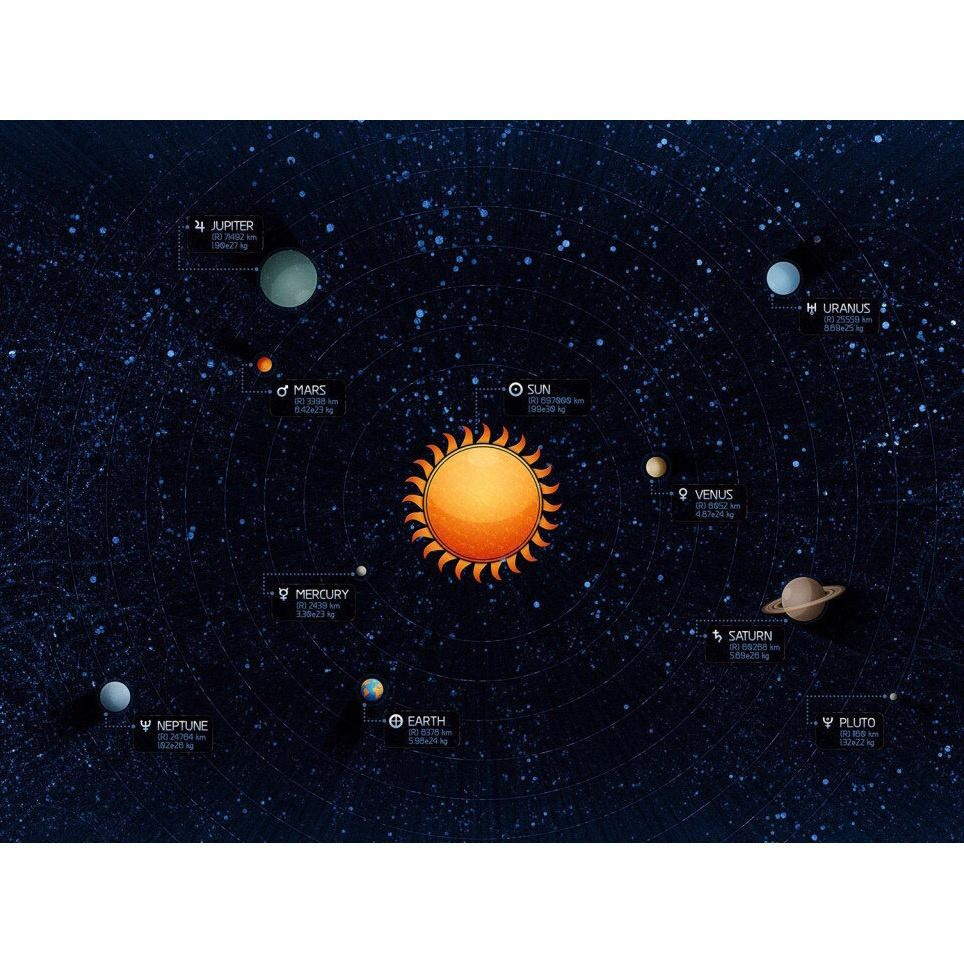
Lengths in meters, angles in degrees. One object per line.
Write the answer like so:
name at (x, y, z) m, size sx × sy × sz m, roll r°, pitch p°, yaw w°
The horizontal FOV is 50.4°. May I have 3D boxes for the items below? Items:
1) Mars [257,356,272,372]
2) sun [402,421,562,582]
Mars at (-1.750, -0.952, 8.215) m, size 0.101 × 0.065 × 0.133 m, roll -5°, pitch 98°, yaw -1°
sun at (-0.036, 0.196, 8.209) m, size 0.774 × 0.014 × 0.928 m, roll -25°, pitch 86°, yaw -4°
